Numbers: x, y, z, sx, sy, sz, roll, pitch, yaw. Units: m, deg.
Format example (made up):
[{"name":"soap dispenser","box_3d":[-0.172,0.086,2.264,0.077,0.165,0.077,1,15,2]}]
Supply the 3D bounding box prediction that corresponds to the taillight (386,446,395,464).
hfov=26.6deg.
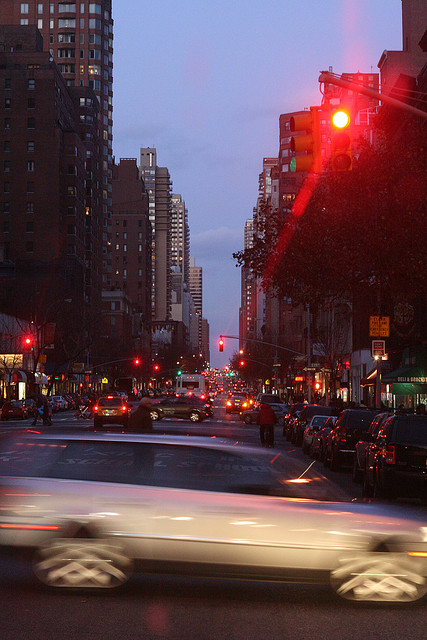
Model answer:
[{"name":"taillight","box_3d":[2.709,2.088,13.882,0.082,0.228,0.195,3,-1,-30]}]

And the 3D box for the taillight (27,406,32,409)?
[{"name":"taillight","box_3d":[-12.489,5.940,60.917,0.324,0.235,0.243,3,-2,21]}]

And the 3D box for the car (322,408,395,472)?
[{"name":"car","box_3d":[3.122,2.774,20.990,0.988,1.231,2.509,-1,-1,4]}]

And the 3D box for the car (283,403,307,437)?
[{"name":"car","box_3d":[3.301,4.174,37.809,0.805,0.917,1.628,1,-2,-2]}]

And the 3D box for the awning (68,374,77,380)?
[{"name":"awning","box_3d":[-16.224,6.557,102.983,1.228,0.480,1.575,14,-6,-6]}]

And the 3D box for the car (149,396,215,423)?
[{"name":"car","box_3d":[-1.760,4.853,48.995,3.440,1.297,2.764,5,-2,-13]}]

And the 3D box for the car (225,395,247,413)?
[{"name":"car","box_3d":[1.661,6.436,68.549,1.174,1.145,2.974,1,1,3]}]

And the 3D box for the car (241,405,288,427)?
[{"name":"car","box_3d":[2.897,5.208,51.533,2.060,1.338,1.371,3,-7,13]}]

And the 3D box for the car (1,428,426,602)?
[{"name":"car","box_3d":[-0.075,1.435,6.898,2.616,1.098,1.504,0,-3,4]}]

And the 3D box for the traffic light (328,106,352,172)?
[{"name":"traffic light","box_3d":[1.628,-2.308,11.621,0.248,0.284,0.973,-4,-47,7]}]

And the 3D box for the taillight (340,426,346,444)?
[{"name":"taillight","box_3d":[2.912,2.611,20.337,0.157,0.333,0.145,2,-1,38]}]

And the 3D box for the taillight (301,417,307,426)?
[{"name":"taillight","box_3d":[3.006,3.442,30.471,0.203,0.207,0.334,-1,-10,7]}]

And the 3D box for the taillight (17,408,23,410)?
[{"name":"taillight","box_3d":[-12.310,5.668,57.253,0.101,0.081,0.469,3,-3,28]}]

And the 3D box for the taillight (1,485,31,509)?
[{"name":"taillight","box_3d":[-1.491,1.331,6.834,0.214,0.279,0.136,1,3,3]}]

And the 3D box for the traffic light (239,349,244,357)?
[{"name":"traffic light","box_3d":[4.869,6.001,161.702,0.747,1.866,0.873,2,-1,-4]}]

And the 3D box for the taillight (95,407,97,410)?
[{"name":"taillight","box_3d":[-5.016,3.754,38.262,0.079,0.107,0.094,0,2,0]}]

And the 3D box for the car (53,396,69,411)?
[{"name":"car","box_3d":[-12.403,6.794,72.863,1.107,1.134,2.044,1,2,2]}]

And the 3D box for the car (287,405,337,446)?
[{"name":"car","box_3d":[3.280,3.673,31.724,0.891,0.980,2.287,1,-2,-1]}]

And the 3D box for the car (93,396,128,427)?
[{"name":"car","box_3d":[-4.410,3.952,39.173,0.880,1.109,2.121,0,2,-1]}]

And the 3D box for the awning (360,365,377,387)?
[{"name":"awning","box_3d":[8.132,3.078,47.664,0.688,0.897,5.307,3,-2,8]}]

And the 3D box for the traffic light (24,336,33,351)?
[{"name":"traffic light","box_3d":[-15.195,1.912,73.895,0.822,1.146,2.756,2,2,-4]}]
